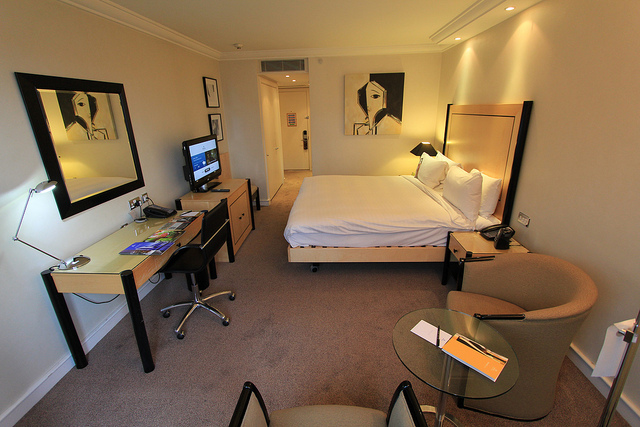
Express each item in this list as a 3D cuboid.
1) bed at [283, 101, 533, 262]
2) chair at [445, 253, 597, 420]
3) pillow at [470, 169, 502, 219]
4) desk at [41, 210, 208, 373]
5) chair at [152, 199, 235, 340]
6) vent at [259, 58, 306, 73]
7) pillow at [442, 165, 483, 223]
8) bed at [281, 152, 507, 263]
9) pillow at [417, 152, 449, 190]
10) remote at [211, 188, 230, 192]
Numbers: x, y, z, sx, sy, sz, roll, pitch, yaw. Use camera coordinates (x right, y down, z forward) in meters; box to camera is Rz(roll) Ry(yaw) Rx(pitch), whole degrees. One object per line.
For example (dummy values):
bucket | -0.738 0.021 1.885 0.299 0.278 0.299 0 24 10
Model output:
bed | 0.977 -0.292 5.414 2.284 1.688 2.232 1 28 5
chair | 1.752 0.943 3.898 1.327 1.453 1.338 2 30 18
pillow | 1.862 -0.205 4.829 0.171 0.428 0.371 4 15 -1
desk | -1.857 0.765 4.276 0.913 1.083 1.248 5 21 15
chair | -1.338 0.543 4.536 0.857 1.216 0.882 -2 16 -1
vent | -0.571 -2.297 6.600 0.706 0.202 0.093 1 21 6
pillow | 1.649 -0.253 4.912 0.317 0.534 0.627 3 13 -4
bed | 0.863 0.002 5.093 1.742 0.718 1.719 3 33 6
pillow | 1.573 -0.561 5.856 0.206 0.367 0.535 -11 19 -6
remote | -1.293 -0.299 5.499 0.267 0.017 0.111 6 21 18
